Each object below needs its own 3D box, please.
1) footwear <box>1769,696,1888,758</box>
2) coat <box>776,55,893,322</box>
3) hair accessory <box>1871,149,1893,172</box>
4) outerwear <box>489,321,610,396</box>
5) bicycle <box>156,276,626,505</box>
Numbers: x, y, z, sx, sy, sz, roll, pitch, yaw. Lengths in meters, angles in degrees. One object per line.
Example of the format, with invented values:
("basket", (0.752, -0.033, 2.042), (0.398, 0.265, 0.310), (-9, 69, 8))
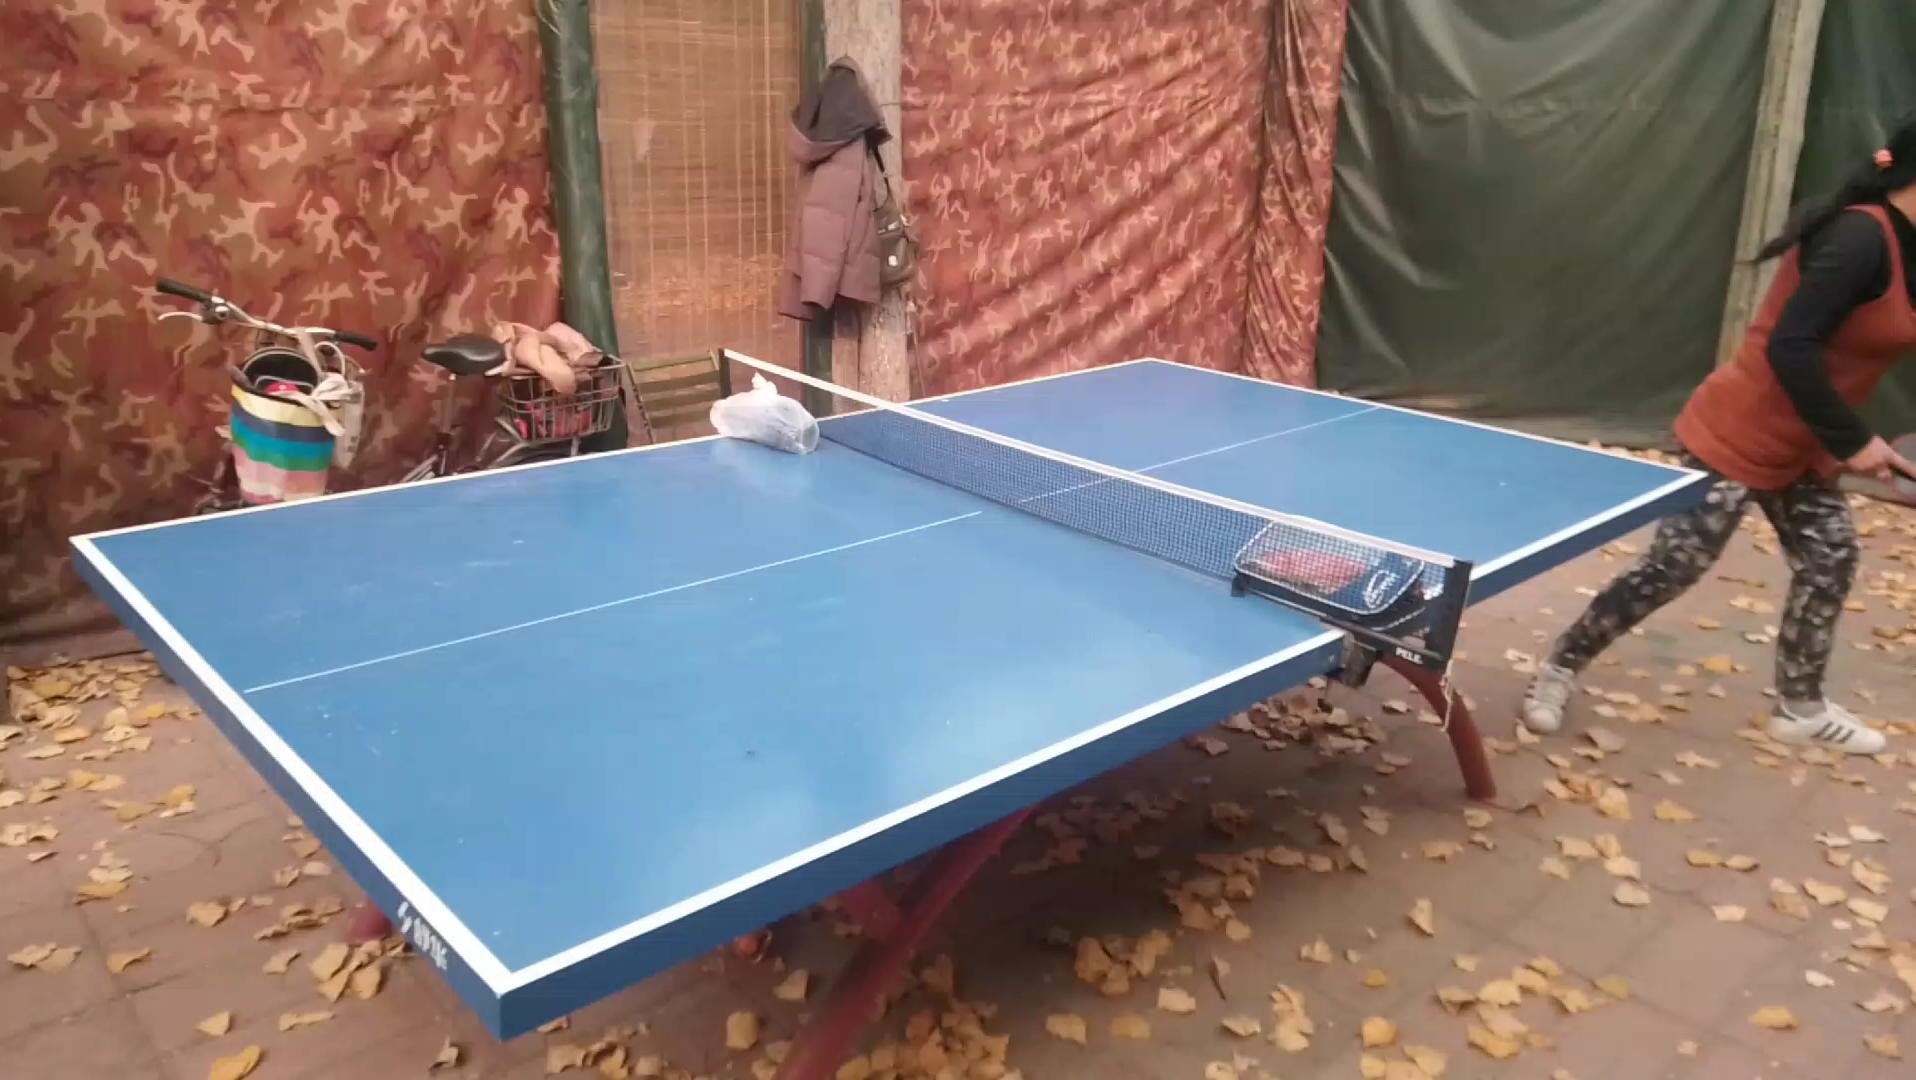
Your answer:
("footwear", (3.755, 0.831, 5.085), (0.551, 0.224, 0.200), (2, 27, 14))
("coat", (-0.732, -1.912, 6.330), (0.558, 1.292, 0.650), (-3, 33, -6))
("hair accessory", (3.506, -1.450, 4.374), (0.027, 0.070, 0.077), (23, 33, -46))
("outerwear", (-2.049, -0.934, 5.743), (0.500, 0.175, 0.389), (13, 33, -19))
("bicycle", (-2.888, -0.673, 5.224), (1.537, 0.936, 0.696), (-13, 2, 7))
